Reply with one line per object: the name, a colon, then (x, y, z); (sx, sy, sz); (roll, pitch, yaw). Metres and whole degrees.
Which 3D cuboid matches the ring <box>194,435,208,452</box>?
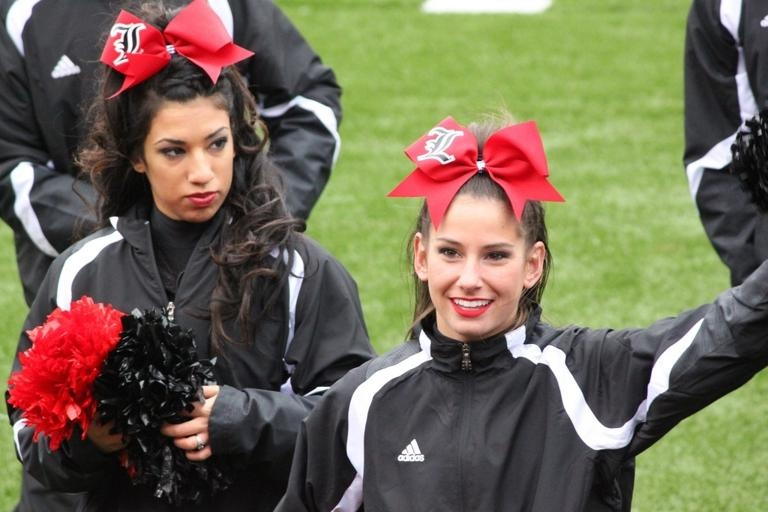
ring: (-0.712, 0.721, 4.481); (0.043, 0.052, 0.026); (0, 28, -39)
